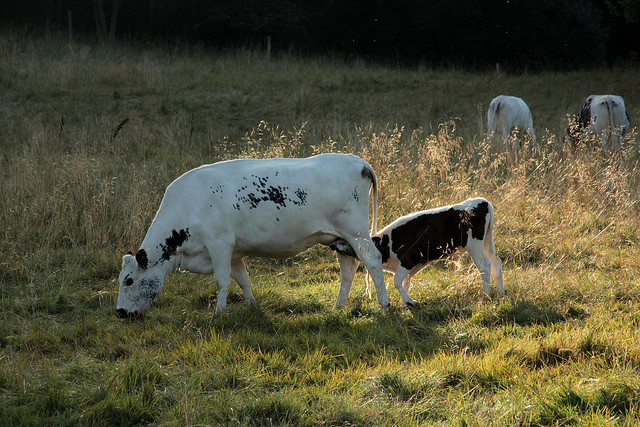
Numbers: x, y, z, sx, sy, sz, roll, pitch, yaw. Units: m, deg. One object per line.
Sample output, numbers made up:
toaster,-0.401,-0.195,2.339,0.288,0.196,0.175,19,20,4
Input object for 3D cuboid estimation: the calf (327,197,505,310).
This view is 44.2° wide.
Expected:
calf,2.257,1.092,18.683,3.858,2.556,0.925,-8,8,11

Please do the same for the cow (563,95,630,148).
cow,9.357,-3.170,26.576,1.231,2.123,3.665,7,2,5

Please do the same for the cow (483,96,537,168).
cow,6.378,-2.826,25.815,0.729,1.902,2.967,14,14,41
